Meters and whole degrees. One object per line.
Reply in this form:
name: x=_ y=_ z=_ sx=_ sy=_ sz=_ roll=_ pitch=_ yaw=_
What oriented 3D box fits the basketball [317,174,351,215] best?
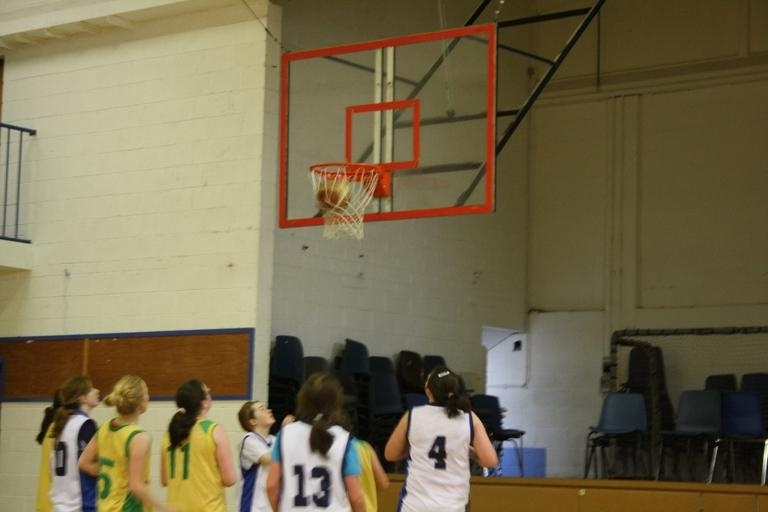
basketball: x=-0.460 y=-0.560 z=9.993 sx=0.289 sy=0.264 sz=0.316 roll=6 pitch=-9 yaw=-44
